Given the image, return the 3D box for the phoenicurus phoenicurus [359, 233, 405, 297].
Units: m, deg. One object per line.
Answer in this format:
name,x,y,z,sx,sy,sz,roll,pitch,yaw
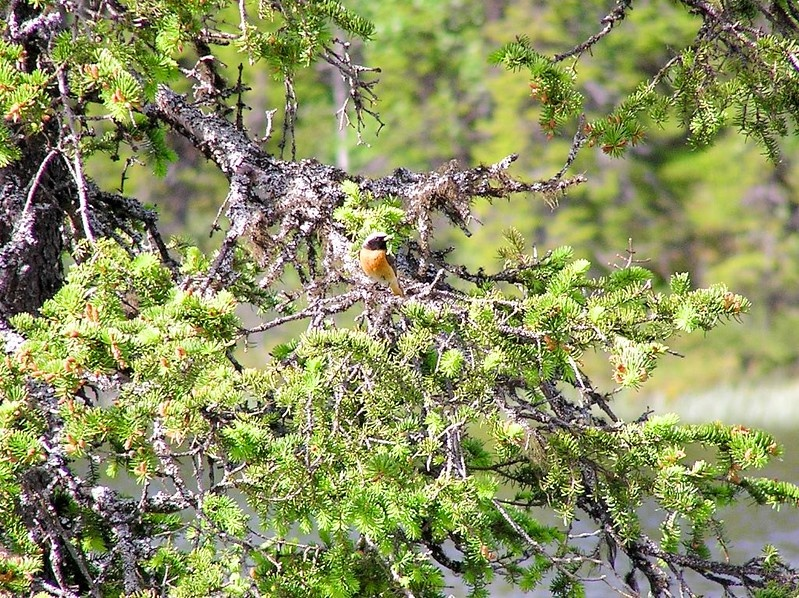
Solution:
phoenicurus phoenicurus,-0.112,-0.230,11.178,0.163,0.273,0.617,-1,-32,9
